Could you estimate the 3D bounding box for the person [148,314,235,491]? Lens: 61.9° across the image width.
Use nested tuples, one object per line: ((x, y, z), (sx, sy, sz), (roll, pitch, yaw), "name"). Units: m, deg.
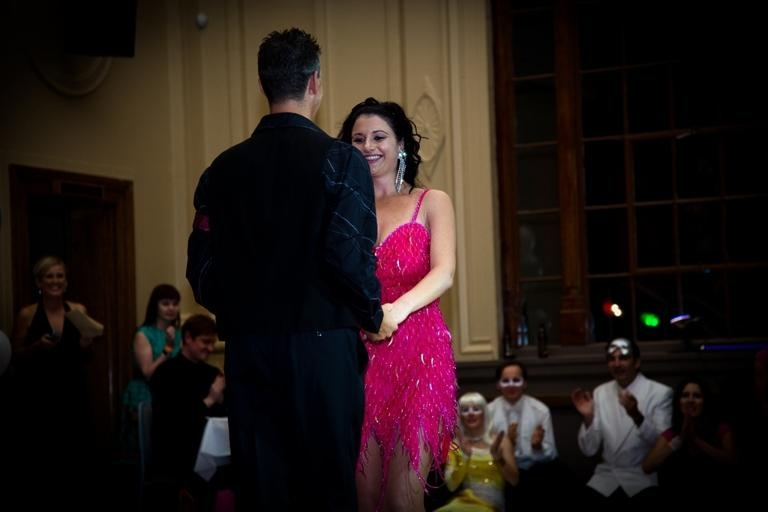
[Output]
((-1.476, 1.265, 4.875), (0.454, 1.595, 0.481), (4, 12, -3), "person")
